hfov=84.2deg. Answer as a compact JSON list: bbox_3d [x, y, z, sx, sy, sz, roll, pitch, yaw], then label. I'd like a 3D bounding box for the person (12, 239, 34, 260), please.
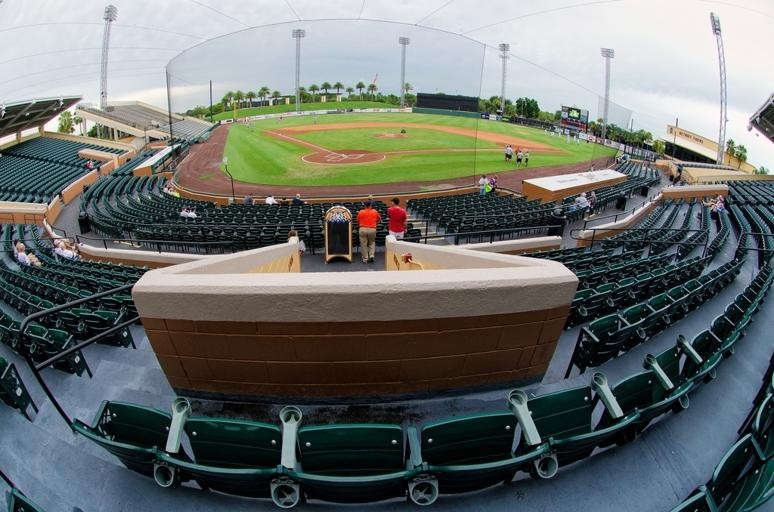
[{"bbox_3d":[-11.922,-0.228,14.151,0.873,0.497,0.365,13,55,15],"label":"person"}]

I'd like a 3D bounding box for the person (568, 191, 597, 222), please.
[{"bbox_3d":[8.098,-2.103,17.895,0.700,0.672,2.141,14,18,43],"label":"person"}]
